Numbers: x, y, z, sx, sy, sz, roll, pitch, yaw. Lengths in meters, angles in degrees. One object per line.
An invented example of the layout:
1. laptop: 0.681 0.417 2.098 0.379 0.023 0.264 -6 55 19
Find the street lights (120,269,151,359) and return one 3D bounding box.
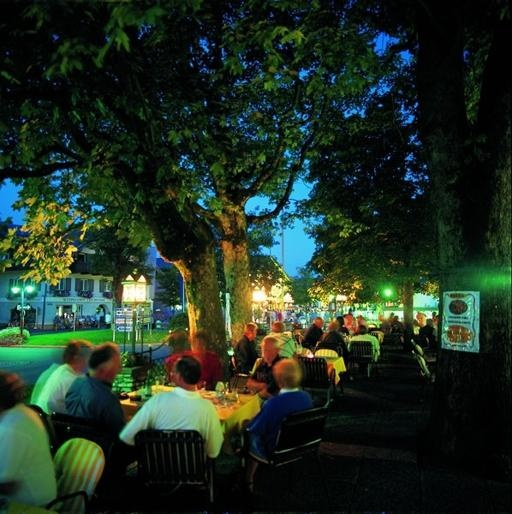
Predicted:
1. street lights: -3.752 1.749 13.991 0.853 2.549 0.865 4 -10 -19
